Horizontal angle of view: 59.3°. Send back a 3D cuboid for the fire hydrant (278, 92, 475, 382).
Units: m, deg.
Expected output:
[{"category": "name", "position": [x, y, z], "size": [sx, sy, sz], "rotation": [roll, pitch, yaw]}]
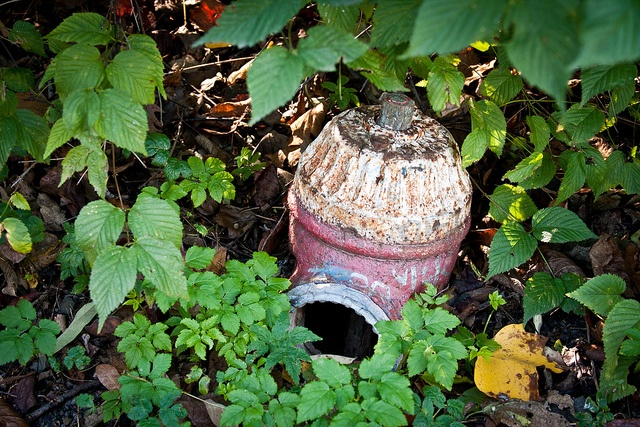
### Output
[{"category": "fire hydrant", "position": [0.406, 0.021, 3.885], "size": [1.114, 1.900, 1.112], "rotation": [31, 46, 29]}]
